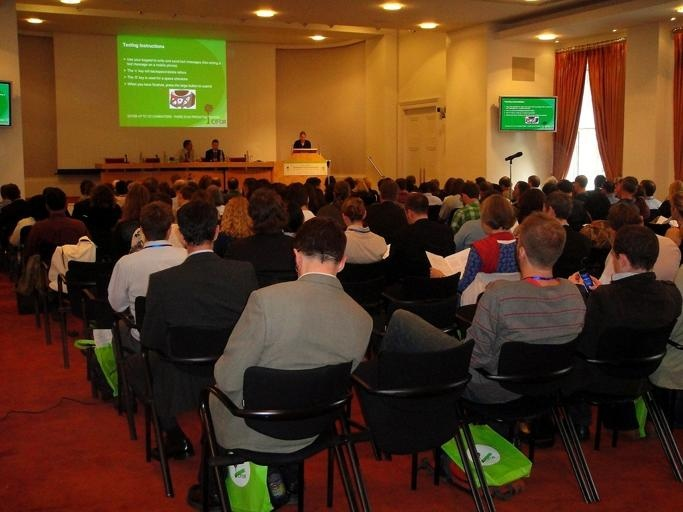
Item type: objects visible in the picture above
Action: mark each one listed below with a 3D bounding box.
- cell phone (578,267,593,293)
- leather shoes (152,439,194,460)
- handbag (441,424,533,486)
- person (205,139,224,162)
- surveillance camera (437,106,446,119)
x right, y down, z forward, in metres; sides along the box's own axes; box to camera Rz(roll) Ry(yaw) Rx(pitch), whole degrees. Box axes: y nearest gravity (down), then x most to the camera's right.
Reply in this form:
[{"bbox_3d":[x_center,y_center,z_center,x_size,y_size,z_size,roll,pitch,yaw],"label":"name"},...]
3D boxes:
[{"bbox_3d":[1.580,0.163,3.745,0.095,0.210,0.022,0,-27,-14],"label":"cell phone"},{"bbox_3d":[-0.982,1.145,3.453,0.256,0.142,0.110,3,-1,-5],"label":"leather shoes"},{"bbox_3d":[0.819,1.060,3.040,0.284,0.115,0.379,-9,18,-30],"label":"handbag"},{"bbox_3d":[-2.967,-2.385,13.743,0.446,0.878,0.351,0,6,-19],"label":"person"},{"bbox_3d":[2.271,-3.251,13.077,0.237,0.349,0.244,0,7,23],"label":"surveillance camera"}]
